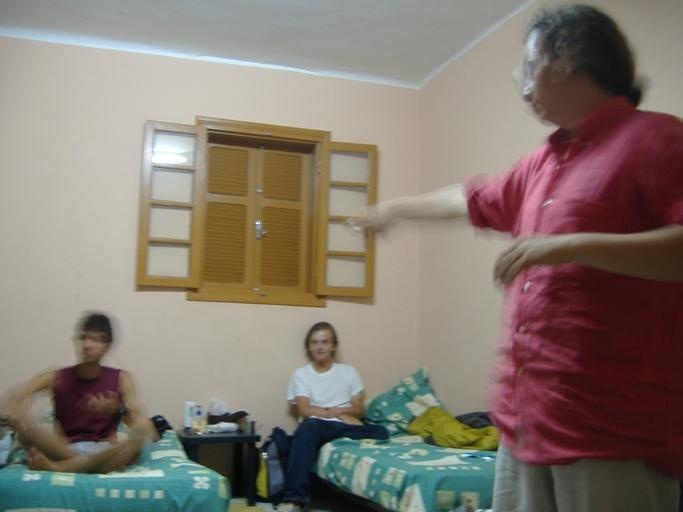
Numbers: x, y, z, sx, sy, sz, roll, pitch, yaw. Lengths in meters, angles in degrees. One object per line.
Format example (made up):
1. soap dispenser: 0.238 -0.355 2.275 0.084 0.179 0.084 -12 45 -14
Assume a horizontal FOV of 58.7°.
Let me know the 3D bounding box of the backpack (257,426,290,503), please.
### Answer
1. backpack: -0.424 1.291 3.758 0.200 0.389 0.304 1 -4 -2

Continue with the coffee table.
1. coffee table: -0.779 1.261 3.831 0.507 0.510 0.507 2 -4 -15
